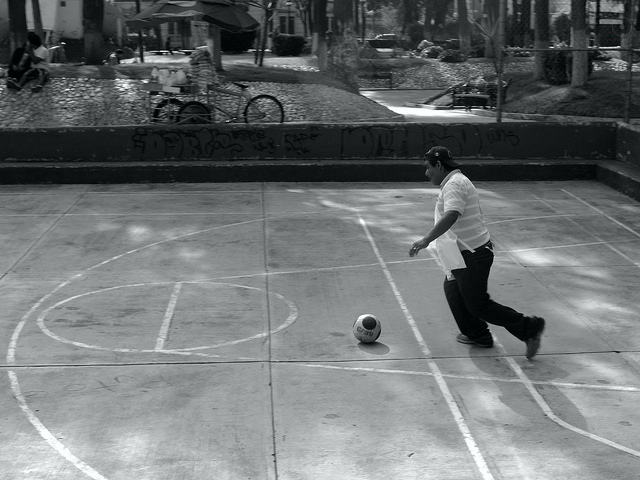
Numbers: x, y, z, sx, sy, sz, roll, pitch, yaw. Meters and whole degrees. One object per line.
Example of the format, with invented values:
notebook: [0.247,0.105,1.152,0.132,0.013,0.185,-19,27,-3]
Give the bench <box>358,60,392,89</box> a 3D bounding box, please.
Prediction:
bench: [3.650,-11.458,41.151,1.995,1.190,2.664,0,12,-1]

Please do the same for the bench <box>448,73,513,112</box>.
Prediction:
bench: [7.613,-6.974,28.725,2.843,1.159,1.255,0,28,6]

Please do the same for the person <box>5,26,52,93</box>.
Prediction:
person: [-9.654,-5.784,19.875,1.257,1.899,1.174,-5,18,-18]

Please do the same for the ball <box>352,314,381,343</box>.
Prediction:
ball: [0.506,0.971,6.627,0.283,0.310,0.210,7,18,20]

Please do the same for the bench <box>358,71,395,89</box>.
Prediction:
bench: [3.796,-10.595,40.095,2.220,1.153,3.000,2,12,6]
